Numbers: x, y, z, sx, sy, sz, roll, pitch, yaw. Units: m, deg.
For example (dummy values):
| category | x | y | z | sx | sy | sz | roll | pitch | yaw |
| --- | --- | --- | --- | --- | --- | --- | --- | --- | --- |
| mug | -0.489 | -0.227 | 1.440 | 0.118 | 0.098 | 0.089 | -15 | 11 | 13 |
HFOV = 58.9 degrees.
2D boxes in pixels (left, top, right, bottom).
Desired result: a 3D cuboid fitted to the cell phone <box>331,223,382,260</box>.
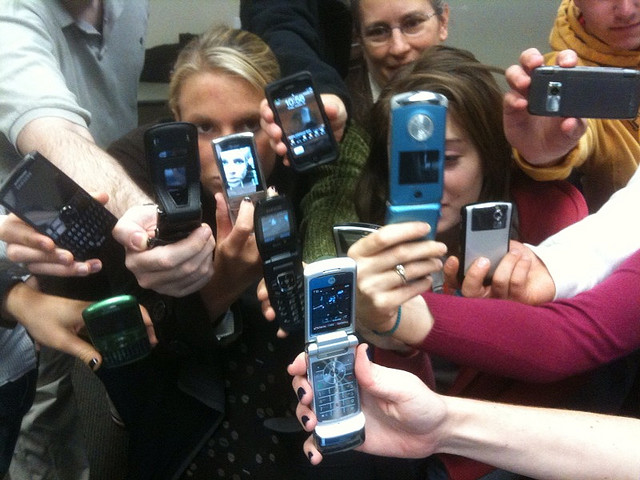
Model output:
| category | x | y | z | sx | sy | sz | roll | pitch | yaw |
| --- | --- | --- | --- | --- | --- | --- | --- | --- | --- |
| cell phone | 0.070 | -0.001 | 1.269 | 0.074 | 0.085 | 0.020 | -9 | 47 | 16 |

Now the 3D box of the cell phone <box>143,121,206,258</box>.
| category | x | y | z | sx | sy | sz | roll | pitch | yaw |
| --- | --- | --- | --- | --- | --- | --- | --- | --- | --- |
| cell phone | -0.316 | -0.112 | 1.205 | 0.155 | 0.267 | 0.063 | -16 | 27 | -14 |

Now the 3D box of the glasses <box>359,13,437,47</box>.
| category | x | y | z | sx | sy | sz | roll | pitch | yaw |
| --- | --- | --- | --- | --- | --- | --- | --- | --- | --- |
| glasses | 0.270 | -0.730 | 1.977 | 0.243 | 0.084 | 0.059 | -6 | 27 | 8 |

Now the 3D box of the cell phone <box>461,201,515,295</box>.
| category | x | y | z | sx | sy | sz | roll | pitch | yaw |
| --- | --- | --- | --- | --- | --- | --- | --- | --- | --- |
| cell phone | 0.402 | -0.001 | 1.381 | 0.116 | 0.224 | 0.029 | -5 | 35 | 2 |

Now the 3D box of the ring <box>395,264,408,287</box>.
| category | x | y | z | sx | sy | sz | roll | pitch | yaw |
| --- | --- | --- | --- | --- | --- | --- | --- | --- | --- |
| ring | 0.171 | 0.071 | 1.192 | 0.010 | 0.042 | 0.017 | -13 | 11 | 42 |

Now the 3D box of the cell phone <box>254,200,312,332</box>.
| category | x | y | z | sx | sy | sz | roll | pitch | yaw |
| --- | --- | --- | --- | --- | --- | --- | --- | --- | --- |
| cell phone | -0.085 | 0.066 | 1.298 | 0.092 | 0.319 | 0.106 | -11 | 27 | -6 |

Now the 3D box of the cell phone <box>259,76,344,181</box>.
| category | x | y | z | sx | sy | sz | roll | pitch | yaw |
| --- | --- | --- | --- | --- | --- | --- | --- | --- | --- |
| cell phone | -0.043 | -0.293 | 1.404 | 0.155 | 0.216 | 0.086 | -11 | 27 | -5 |
